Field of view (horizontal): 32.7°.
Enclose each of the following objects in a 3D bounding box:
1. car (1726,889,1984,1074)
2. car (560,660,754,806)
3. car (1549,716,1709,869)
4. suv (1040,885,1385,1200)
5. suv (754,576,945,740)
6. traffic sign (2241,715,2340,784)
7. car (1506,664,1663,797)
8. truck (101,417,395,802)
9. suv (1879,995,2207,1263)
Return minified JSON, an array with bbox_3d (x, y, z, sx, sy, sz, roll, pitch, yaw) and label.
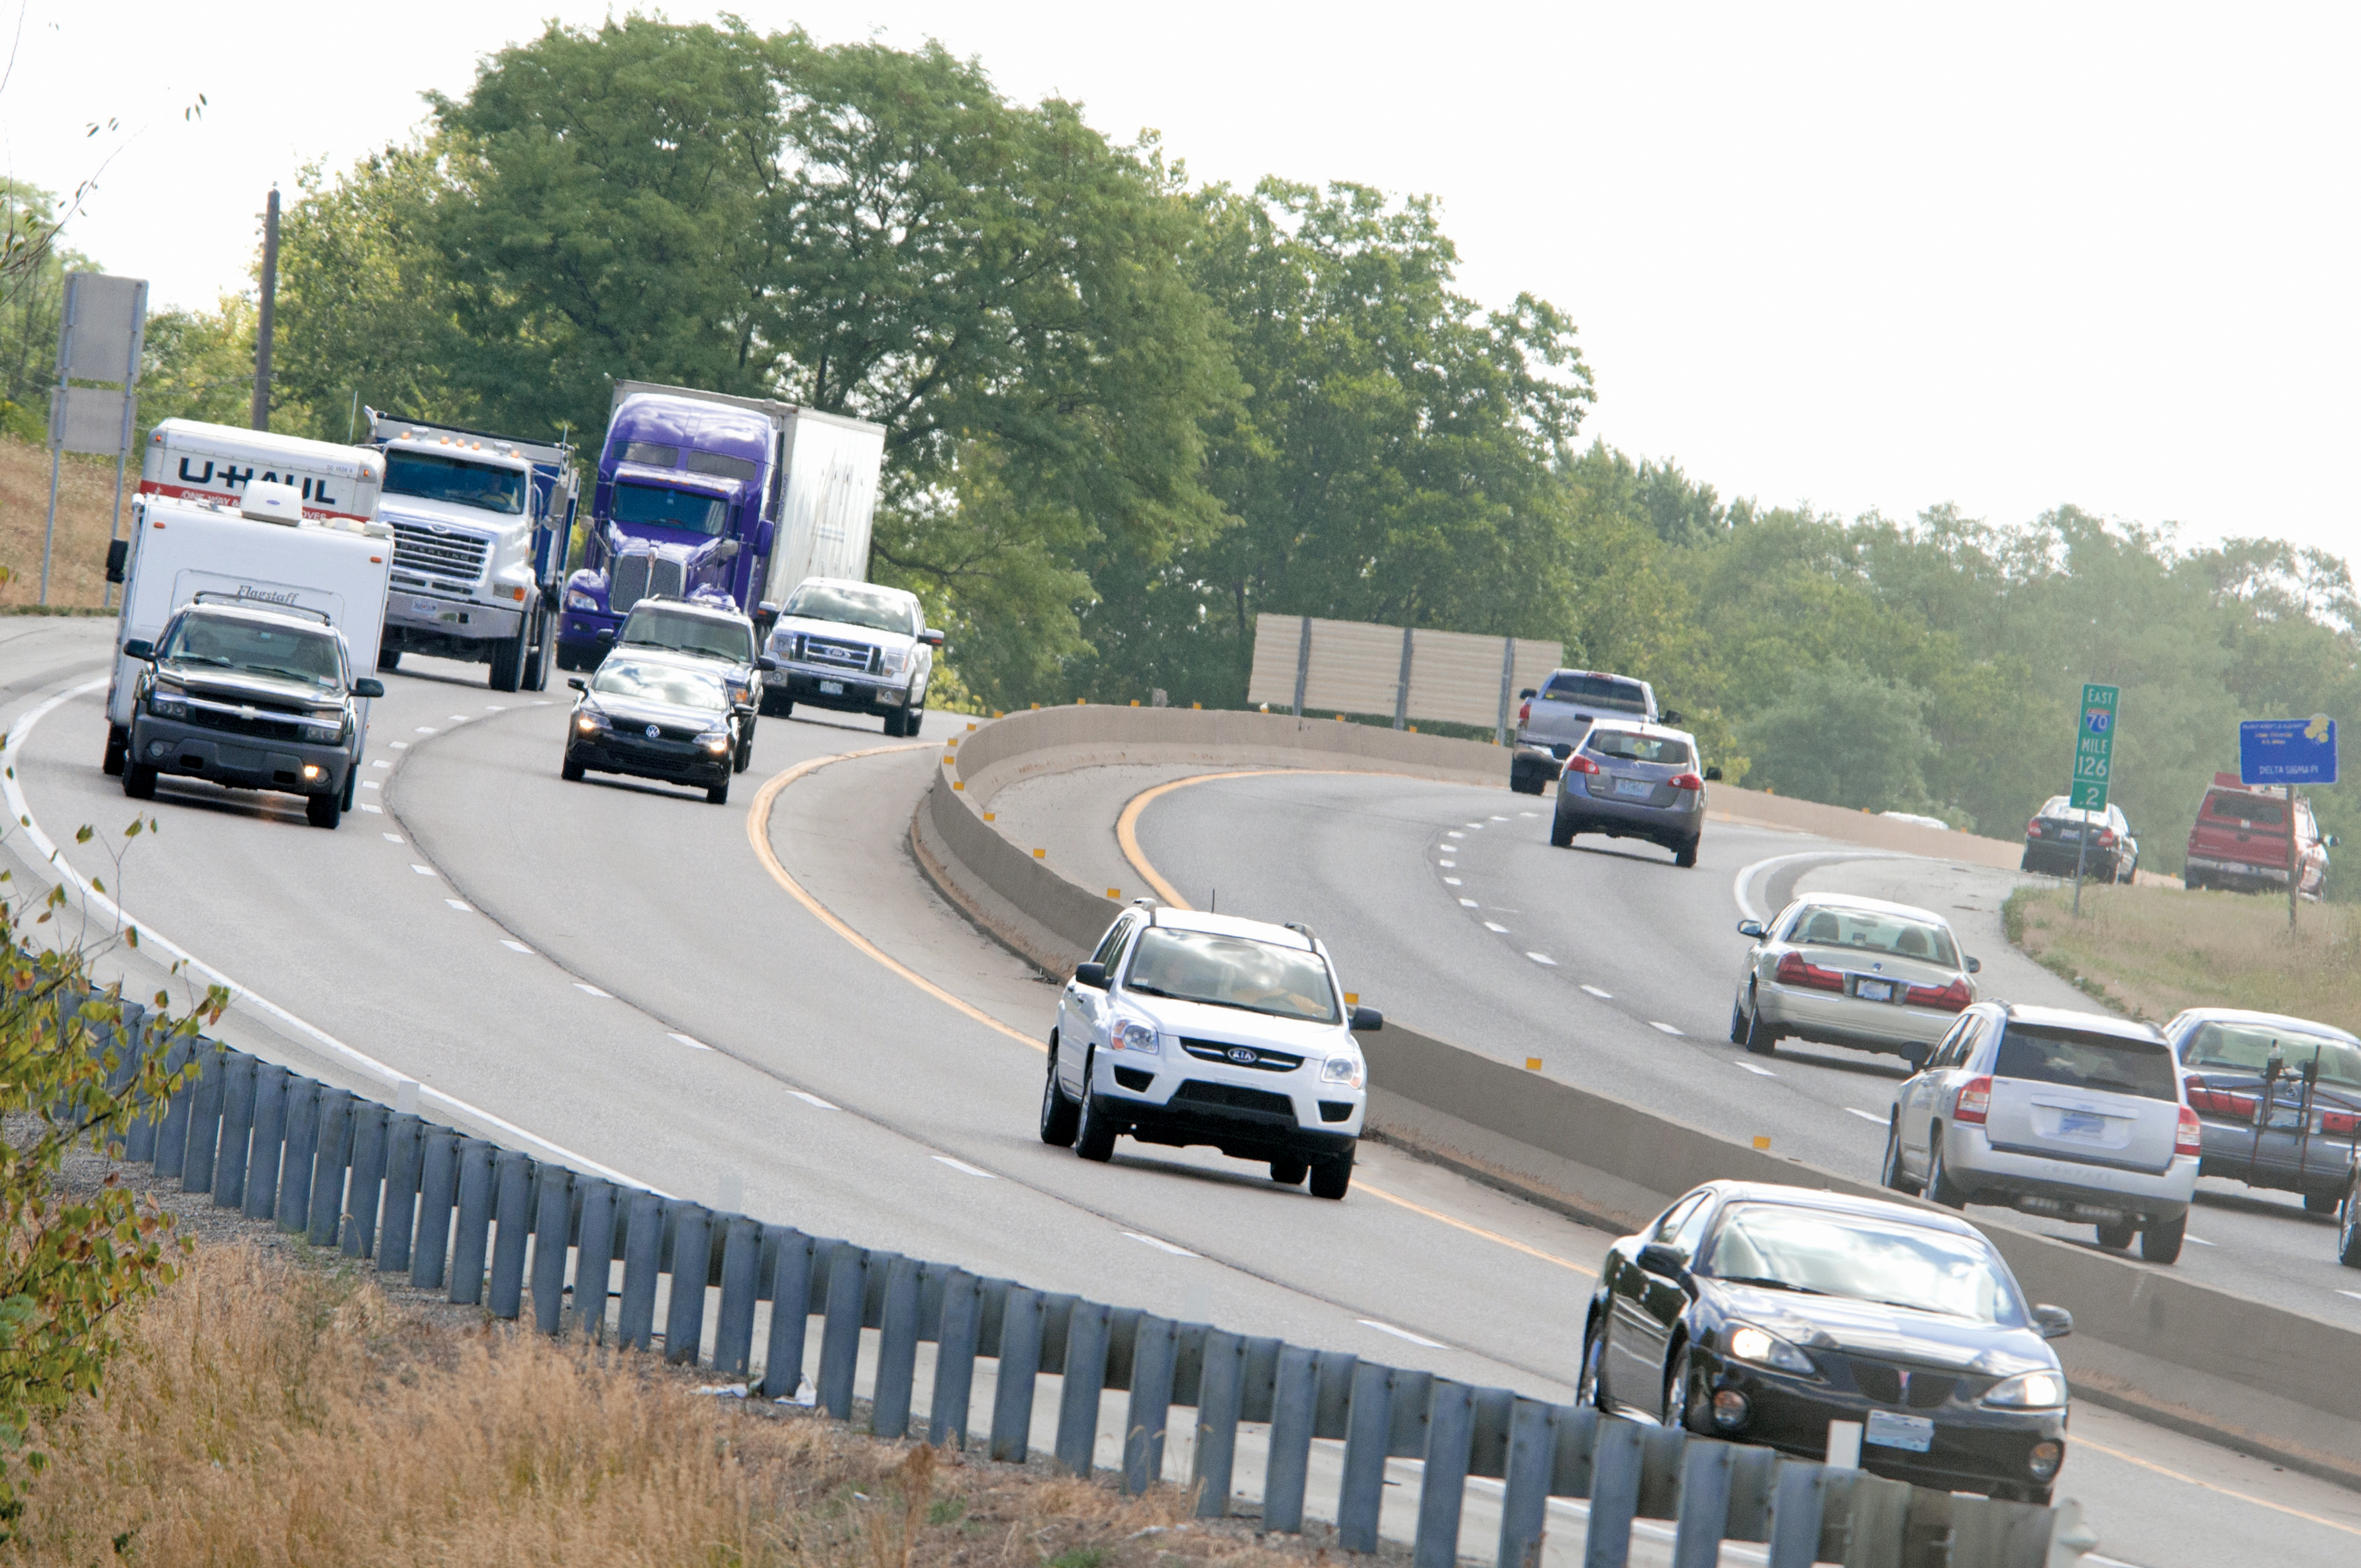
[{"bbox_3d":[8.121,2.285,48.561,2.486,1.804,5.661,8,3,5],"label":"car"},{"bbox_3d":[-6.870,-0.646,51.510,2.068,1.725,1.561,9,1,-10],"label":"car"},{"bbox_3d":[6.791,0.010,60.745,2.011,2.037,1.262,9,1,-7],"label":"car"},{"bbox_3d":[0.265,2.411,38.047,2.826,2.360,4.709,9,0,-11],"label":"suv"},{"bbox_3d":[-5.577,-2.214,65.137,2.698,2.067,5.690,9,5,-1],"label":"suv"},{"bbox_3d":[18.583,-0.485,67.591,1.505,1.100,0.022,1,0,41],"label":"traffic sign"},{"bbox_3d":[7.175,-0.870,71.364,2.343,1.972,4.740,8,-3,-9],"label":"car"},{"bbox_3d":[-10.887,-1.863,46.769,3.976,5.310,10.075,1,0,-18],"label":"truck"},{"bbox_3d":[8.428,3.380,39.893,2.617,2.123,5.097,8,-1,5],"label":"suv"}]
